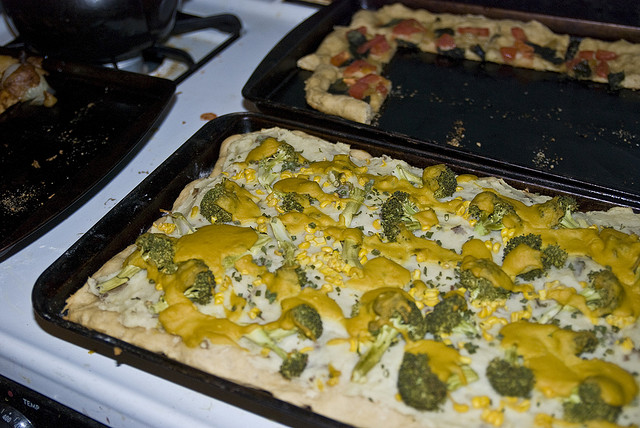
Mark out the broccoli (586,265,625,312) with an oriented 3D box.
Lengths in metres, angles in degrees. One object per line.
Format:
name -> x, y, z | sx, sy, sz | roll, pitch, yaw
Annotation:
broccoli -> 1.986, 0.540, 4.096 | 0.299, 0.094, 0.224 | 12, 83, 32

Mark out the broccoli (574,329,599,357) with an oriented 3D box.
broccoli -> 1.789, 0.862, 3.865 | 0.136, 0.042, 0.166 | 9, 80, 5

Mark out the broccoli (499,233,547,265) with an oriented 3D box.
broccoli -> 1.482, 0.257, 4.249 | 0.280, 0.066, 0.196 | -13, 41, 8

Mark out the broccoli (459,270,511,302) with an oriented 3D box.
broccoli -> 1.154, 0.481, 4.038 | 0.255, 0.201, 0.091 | 28, 76, 20

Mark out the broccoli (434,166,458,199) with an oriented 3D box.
broccoli -> 0.982, -0.238, 4.487 | 0.095, 0.166, 0.213 | 26, 50, -21

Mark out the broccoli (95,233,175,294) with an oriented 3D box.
broccoli -> -1.309, 0.336, 4.158 | 0.585, 0.145, 0.337 | -39, 71, -13

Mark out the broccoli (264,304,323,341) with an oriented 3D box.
broccoli -> -0.196, 0.744, 3.978 | 0.355, 0.169, 0.216 | -22, 41, -1

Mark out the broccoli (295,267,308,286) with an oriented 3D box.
broccoli -> -0.129, 0.450, 4.130 | 0.084, 0.026, 0.110 | -25, 83, -49

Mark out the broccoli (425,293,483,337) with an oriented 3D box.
broccoli -> 0.929, 0.714, 3.975 | 0.384, 0.105, 0.290 | 16, 73, 30

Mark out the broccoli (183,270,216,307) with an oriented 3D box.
broccoli -> -0.813, 0.517, 4.068 | 0.245, 0.103, 0.204 | -10, 81, 1

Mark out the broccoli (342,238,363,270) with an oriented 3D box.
broccoli -> 0.234, 0.291, 4.223 | 0.121, 0.051, 0.190 | 2, 58, -21

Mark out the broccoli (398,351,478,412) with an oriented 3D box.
broccoli -> 0.779, 1.079, 3.910 | 0.406, 0.557, 0.184 | -9, 90, -29

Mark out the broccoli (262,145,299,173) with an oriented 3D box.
broccoli -> -0.318, -0.452, 4.782 | 0.278, 0.140, 0.190 | -15, 77, 14

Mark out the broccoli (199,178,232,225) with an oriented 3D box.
broccoli -> -0.829, -0.095, 4.481 | 0.114, 0.290, 0.354 | -17, 42, 36

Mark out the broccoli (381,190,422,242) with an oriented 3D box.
broccoli -> 0.610, 0.020, 4.354 | 0.330, 0.109, 0.333 | 47, 61, 1

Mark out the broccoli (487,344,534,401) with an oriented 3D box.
broccoli -> 1.242, 1.051, 3.744 | 0.233, 0.128, 0.269 | -5, 67, 8

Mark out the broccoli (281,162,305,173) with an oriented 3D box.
broccoli -> -0.236, -0.382, 4.705 | 0.095, 0.029, 0.092 | -13, 44, -12

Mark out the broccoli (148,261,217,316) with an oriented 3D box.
broccoli -> -0.961, 0.512, 4.022 | 0.415, 0.111, 0.336 | 12, 96, 7

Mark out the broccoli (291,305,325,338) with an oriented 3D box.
broccoli -> -0.103, 0.744, 4.018 | 0.184, 0.078, 0.232 | -33, 82, -36

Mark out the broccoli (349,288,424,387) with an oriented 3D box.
broccoli -> 0.381, 0.787, 3.945 | 0.621, 0.146, 0.471 | -34, 74, -14

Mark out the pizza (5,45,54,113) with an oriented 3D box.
pizza -> -2.773, -1.306, 5.509 | 0.572, 0.167, 0.574 | -12, 72, 7
